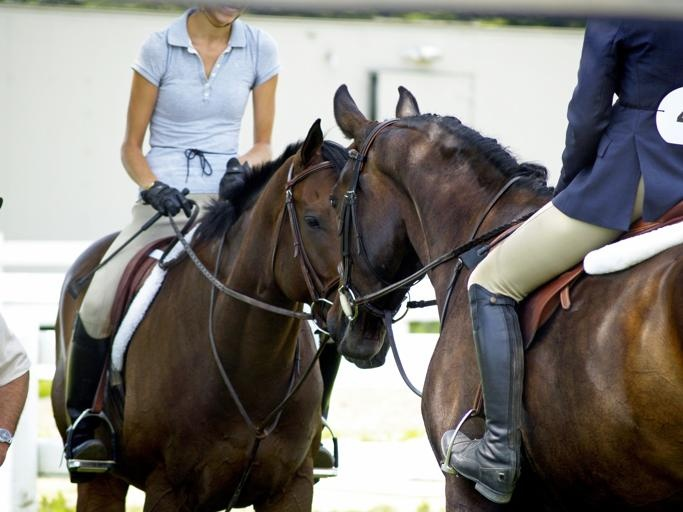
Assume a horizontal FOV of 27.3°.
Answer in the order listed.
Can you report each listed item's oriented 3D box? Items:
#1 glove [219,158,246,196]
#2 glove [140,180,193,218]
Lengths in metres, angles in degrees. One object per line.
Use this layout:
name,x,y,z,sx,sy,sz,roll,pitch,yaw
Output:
glove,-0.568,-0.425,7.412,0.135,0.082,0.206,-3,46,32
glove,-0.922,-0.300,7.359,0.221,0.074,0.185,42,46,20
